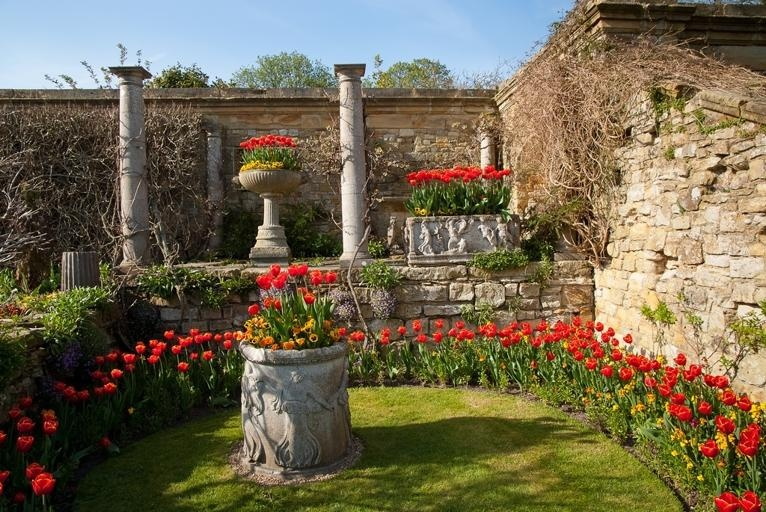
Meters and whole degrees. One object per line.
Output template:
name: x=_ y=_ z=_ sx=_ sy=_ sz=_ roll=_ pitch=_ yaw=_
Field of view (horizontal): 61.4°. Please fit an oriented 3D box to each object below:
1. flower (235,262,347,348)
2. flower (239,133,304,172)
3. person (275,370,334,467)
flower: x=-0.755 y=0.622 z=7.035 sx=0.650 sy=0.919 sz=0.841 roll=-4 pitch=-8 yaw=-9
flower: x=-1.762 y=-1.505 z=9.985 sx=0.940 sy=0.559 sz=0.962 roll=-3 pitch=-3 yaw=26
person: x=-0.825 y=1.635 z=6.521 sx=0.907 sy=1.122 sz=0.260 roll=0 pitch=4 yaw=-1
